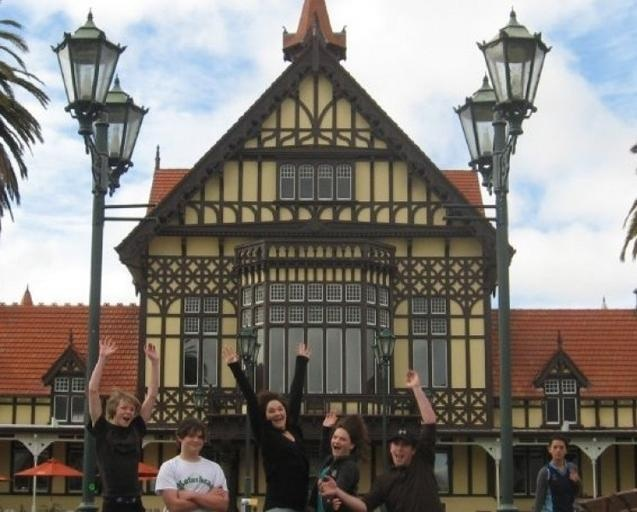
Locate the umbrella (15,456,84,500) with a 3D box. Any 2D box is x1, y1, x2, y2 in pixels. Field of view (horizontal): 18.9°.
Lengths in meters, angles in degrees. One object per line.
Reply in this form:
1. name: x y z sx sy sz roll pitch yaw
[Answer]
1. umbrella: -7.994 6.496 56.694 1.704 0.849 1.900 4 -4 -14
